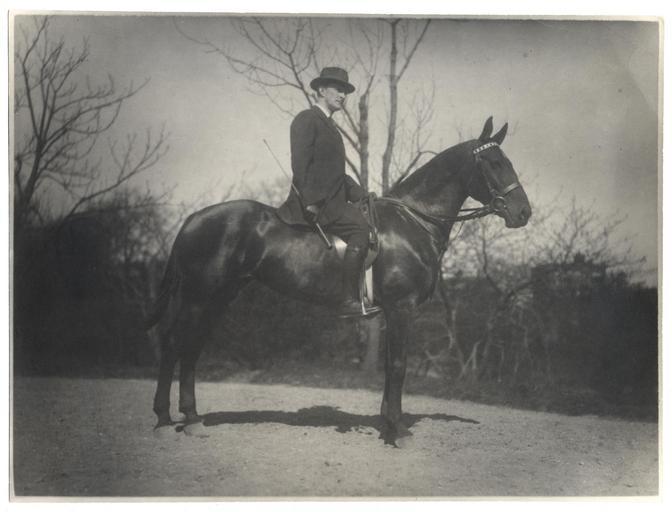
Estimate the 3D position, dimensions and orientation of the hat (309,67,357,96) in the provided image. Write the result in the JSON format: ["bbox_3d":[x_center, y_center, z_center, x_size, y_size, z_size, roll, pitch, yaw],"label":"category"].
[{"bbox_3d":[-0.040,-1.737,10.267,0.318,0.128,0.280,-6,-18,31],"label":"hat"}]

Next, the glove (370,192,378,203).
[{"bbox_3d":[0.395,-0.577,10.243,0.040,0.080,0.154,-2,-11,6],"label":"glove"}]

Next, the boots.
[{"bbox_3d":[0.222,0.280,10.067,0.469,0.912,0.632,-7,-28,11],"label":"boots"}]

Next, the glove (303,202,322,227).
[{"bbox_3d":[-0.230,-0.400,9.989,0.164,0.226,0.081,1,3,-3],"label":"glove"}]
